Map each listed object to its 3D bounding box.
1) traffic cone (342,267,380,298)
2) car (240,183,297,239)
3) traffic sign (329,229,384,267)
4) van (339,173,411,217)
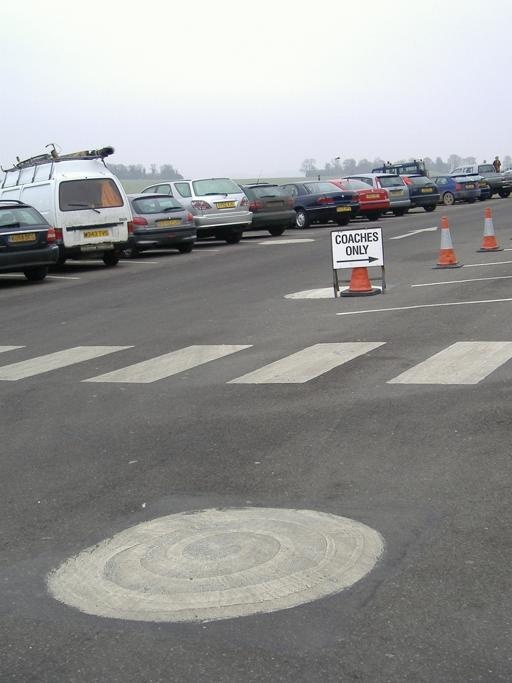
[{"bbox_3d":[1.956,-1.066,11.116,0.566,0.719,0.612,-2,3,12],"label":"traffic cone"},{"bbox_3d":[0.578,-5.628,25.553,2.051,2.387,2.631,-4,13,-14],"label":"car"},{"bbox_3d":[1.805,-1.737,10.823,1.003,0.674,0.716,-3,13,4],"label":"traffic sign"},{"bbox_3d":[6.804,-7.922,31.968,2.217,2.084,4.999,-10,13,-38],"label":"van"}]
